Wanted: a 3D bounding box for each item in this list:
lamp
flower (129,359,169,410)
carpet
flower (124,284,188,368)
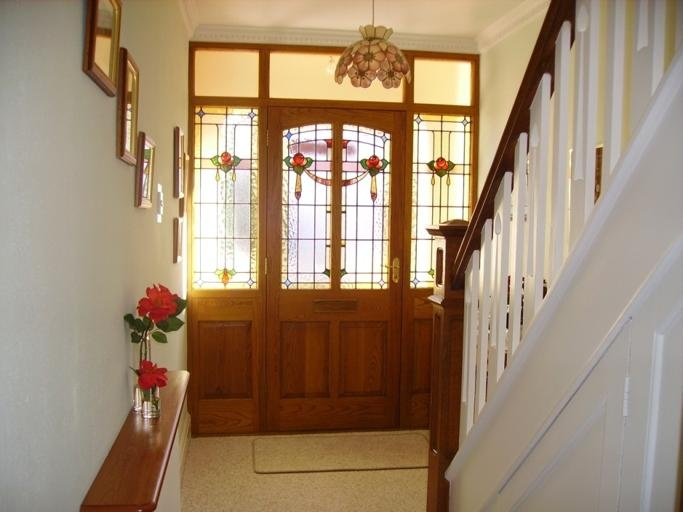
[{"bbox_3d":[0.131,-1.140,3.063,0.367,0.512,0.381,-11,19,-42],"label":"lamp"},{"bbox_3d":[-0.744,0.530,2.151,0.084,0.162,0.106,6,-1,43],"label":"flower"},{"bbox_3d":[0.013,1.422,4.020,1.323,0.030,0.652,1,6,-6],"label":"carpet"},{"bbox_3d":[-0.740,0.317,2.155,0.210,0.357,0.228,5,1,15],"label":"flower"}]
